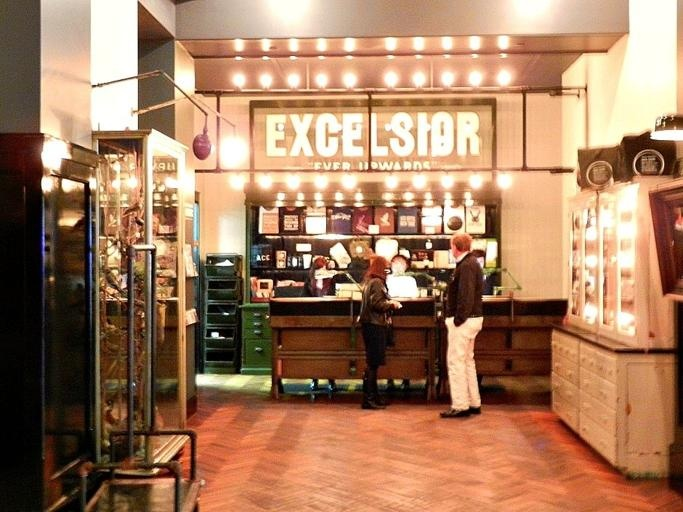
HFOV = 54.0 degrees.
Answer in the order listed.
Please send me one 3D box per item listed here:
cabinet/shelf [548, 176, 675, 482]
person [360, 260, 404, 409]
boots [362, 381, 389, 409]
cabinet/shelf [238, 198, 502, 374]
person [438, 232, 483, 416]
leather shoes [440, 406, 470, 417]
[{"bbox_3d":[2.663,0.599,6.426,0.604,2.644,1.676,0,3,-2],"label":"cabinet/shelf"},{"bbox_3d":[0.424,0.918,7.937,0.447,1.806,0.399,1,3,21],"label":"person"},{"bbox_3d":[0.393,1.678,8.090,0.325,0.315,0.272,-1,-2,-1],"label":"boots"},{"bbox_3d":[0.346,1.012,9.080,3.336,2.383,1.978,-1,-2,2],"label":"cabinet/shelf"},{"bbox_3d":[1.364,0.794,7.670,0.454,2.077,0.383,0,3,11],"label":"person"},{"bbox_3d":[1.282,1.794,7.668,0.335,0.136,0.123,2,-1,-4],"label":"leather shoes"}]
